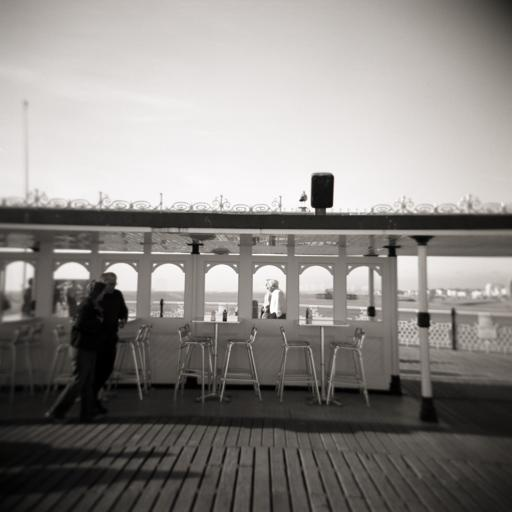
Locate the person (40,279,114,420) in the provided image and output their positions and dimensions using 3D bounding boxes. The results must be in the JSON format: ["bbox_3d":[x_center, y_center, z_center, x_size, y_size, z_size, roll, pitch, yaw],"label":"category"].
[{"bbox_3d":[-2.755,1.480,7.644,0.721,2.169,0.423,0,2,-17],"label":"person"}]

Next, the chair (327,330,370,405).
[{"bbox_3d":[1.728,2.060,9.372,0.590,1.410,0.656,2,-1,5],"label":"chair"}]

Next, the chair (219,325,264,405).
[{"bbox_3d":[-0.311,2.082,9.673,0.608,1.373,0.726,2,-3,-1],"label":"chair"}]

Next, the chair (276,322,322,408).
[{"bbox_3d":[0.817,1.998,9.440,0.855,1.392,1.107,1,2,3],"label":"chair"}]

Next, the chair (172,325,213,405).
[{"bbox_3d":[-1.204,2.071,9.557,0.607,1.339,0.746,0,-3,21],"label":"chair"}]
